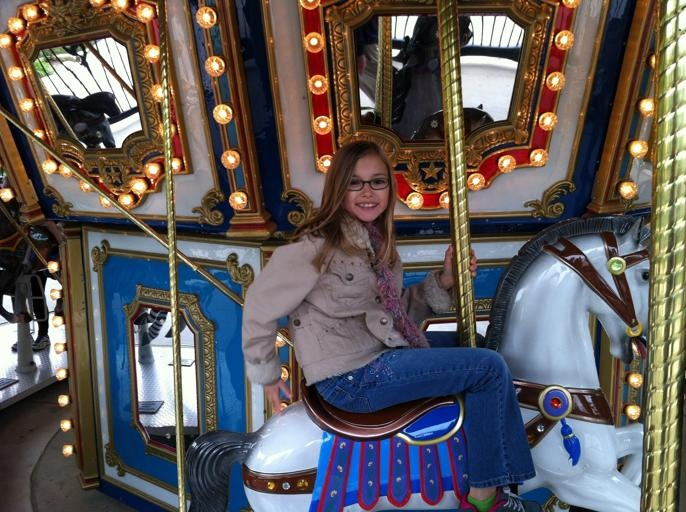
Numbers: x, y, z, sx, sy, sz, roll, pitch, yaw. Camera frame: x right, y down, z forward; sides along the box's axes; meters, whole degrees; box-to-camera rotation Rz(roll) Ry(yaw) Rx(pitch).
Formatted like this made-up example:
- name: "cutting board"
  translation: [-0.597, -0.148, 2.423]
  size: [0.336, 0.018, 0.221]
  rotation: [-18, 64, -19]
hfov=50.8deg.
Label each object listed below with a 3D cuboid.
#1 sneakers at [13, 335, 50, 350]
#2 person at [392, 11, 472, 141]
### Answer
- name: "sneakers"
  translation: [-3.313, 0.926, 7.707]
  size: [0.422, 0.193, 0.156]
  rotation: [3, -5, -27]
- name: "person"
  translation: [0.423, -0.905, 3.489]
  size: [0.247, 0.793, 0.297]
  rotation: [-30, 47, -31]
